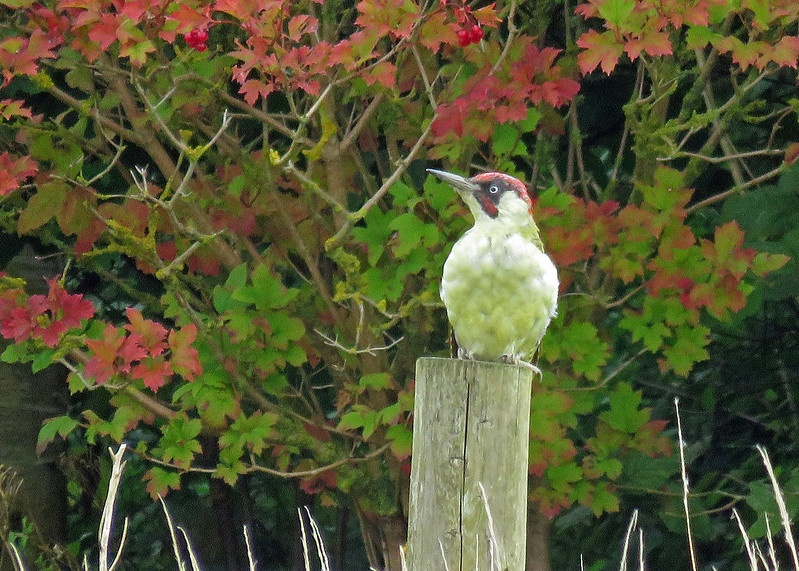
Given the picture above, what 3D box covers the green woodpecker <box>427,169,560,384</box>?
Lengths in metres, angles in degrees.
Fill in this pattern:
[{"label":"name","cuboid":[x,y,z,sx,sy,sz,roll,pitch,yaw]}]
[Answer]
[{"label":"green woodpecker","cuboid":[0.478,-0.091,8.995,0.565,0.958,0.324,-5,-8,3]}]
